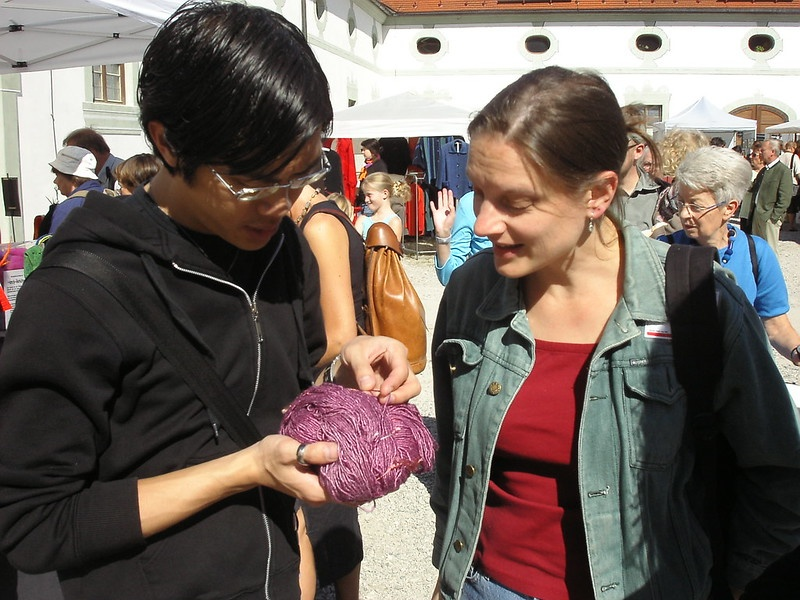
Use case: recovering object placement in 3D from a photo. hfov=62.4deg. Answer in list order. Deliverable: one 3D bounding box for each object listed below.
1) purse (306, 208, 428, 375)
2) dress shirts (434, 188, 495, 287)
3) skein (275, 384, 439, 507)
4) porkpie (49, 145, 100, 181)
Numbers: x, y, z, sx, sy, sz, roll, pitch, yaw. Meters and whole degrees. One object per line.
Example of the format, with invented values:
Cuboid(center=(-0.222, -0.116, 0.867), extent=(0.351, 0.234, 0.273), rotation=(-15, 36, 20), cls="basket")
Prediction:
Cuboid(center=(-0.219, -0.045, 4.047), extent=(0.626, 1.199, 1.189), rotation=(-5, 13, 0), cls="purse")
Cuboid(center=(0.412, -0.440, 4.565), extent=(0.221, 0.896, 0.376), rotation=(0, 12, -10), cls="dress shirts")
Cuboid(center=(-0.096, 0.436, 1.940), extent=(0.408, 0.369, 0.225), rotation=(4, -32, 41), cls="skein")
Cuboid(center=(-3.376, -1.422, 6.750), extent=(0.385, 0.219, 0.339), rotation=(13, 10, 39), cls="porkpie")
